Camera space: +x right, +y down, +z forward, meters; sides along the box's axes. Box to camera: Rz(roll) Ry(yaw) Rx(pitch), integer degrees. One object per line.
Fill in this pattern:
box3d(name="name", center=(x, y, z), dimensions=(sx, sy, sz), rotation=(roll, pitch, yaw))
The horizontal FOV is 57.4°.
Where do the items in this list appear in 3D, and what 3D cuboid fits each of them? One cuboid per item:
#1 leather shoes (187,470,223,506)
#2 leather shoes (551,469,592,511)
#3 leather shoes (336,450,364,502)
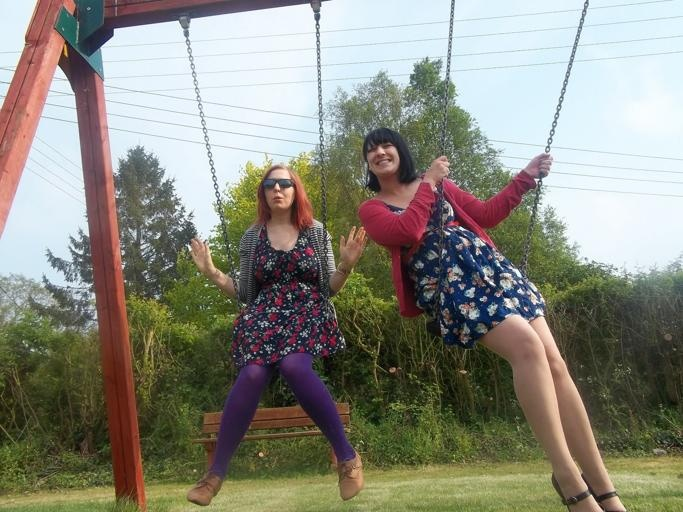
box3d(name="leather shoes", center=(-1.101, 1.899, 4.994), dimensions=(0.165, 0.147, 0.408), rotation=(-57, -4, 5))
box3d(name="leather shoes", center=(1.738, 1.760, 4.694), dimensions=(0.284, 0.270, 0.208), rotation=(-6, -10, 21))
box3d(name="leather shoes", center=(0.075, 1.856, 5.192), dimensions=(0.175, 0.435, 0.155), rotation=(25, -37, -35))
